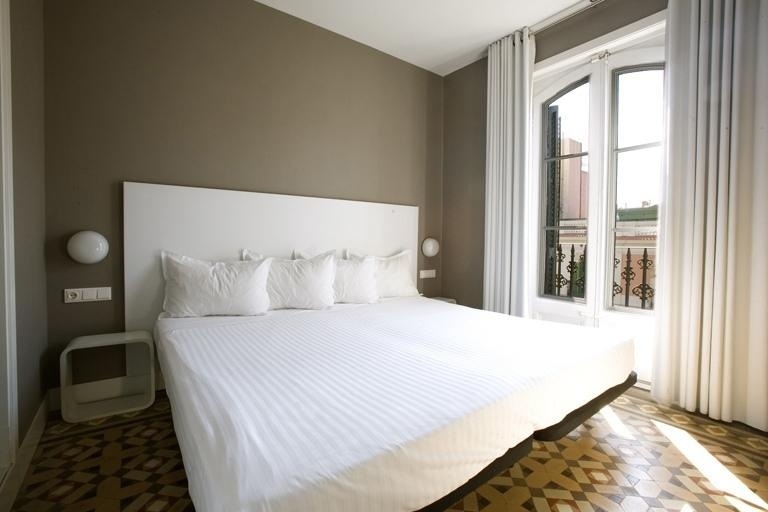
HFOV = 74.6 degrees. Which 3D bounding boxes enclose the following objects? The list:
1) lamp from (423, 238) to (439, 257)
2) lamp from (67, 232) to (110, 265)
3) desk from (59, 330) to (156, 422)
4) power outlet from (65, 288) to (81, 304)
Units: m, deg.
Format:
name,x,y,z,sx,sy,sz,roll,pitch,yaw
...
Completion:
name,x,y,z,sx,sy,sz,roll,pitch,yaw
lamp,0.526,-0.095,5.918,0.189,0.208,0.046,-11,10,-26
lamp,-2.473,-0.070,4.212,0.280,0.255,0.112,-2,2,-4
desk,-2.313,0.978,4.226,0.680,0.659,0.525,-3,3,-39
power outlet,-2.600,0.334,4.222,0.118,0.111,0.020,2,-1,-33
